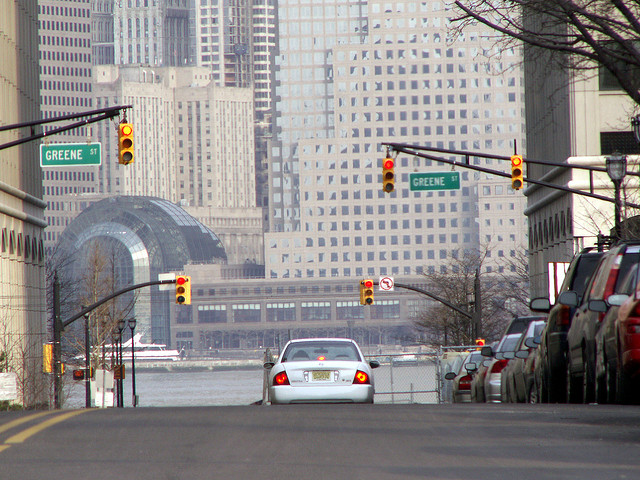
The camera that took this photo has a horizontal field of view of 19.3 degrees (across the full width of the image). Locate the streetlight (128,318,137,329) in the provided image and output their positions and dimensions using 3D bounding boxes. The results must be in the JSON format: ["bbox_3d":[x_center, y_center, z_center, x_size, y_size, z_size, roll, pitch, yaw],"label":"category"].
[{"bbox_3d":[-14.320,6.392,144.704,0.748,0.862,0.774,1,4,-12],"label":"streetlight"}]

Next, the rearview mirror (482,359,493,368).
[{"bbox_3d":[9.515,7.033,107.991,0.496,0.391,0.073,0,18,-2],"label":"rearview mirror"}]

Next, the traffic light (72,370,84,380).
[{"bbox_3d":[-16.228,8.985,127.091,0.676,0.564,0.972,-1,-4,-5],"label":"traffic light"}]

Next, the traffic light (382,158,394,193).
[{"bbox_3d":[4.207,-4.157,117.404,0.580,2.146,1.083,-1,-3,-4],"label":"traffic light"}]

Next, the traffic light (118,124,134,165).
[{"bbox_3d":[-11.320,-5.672,110.155,0.822,2.422,0.899,-1,-3,-12],"label":"traffic light"}]
